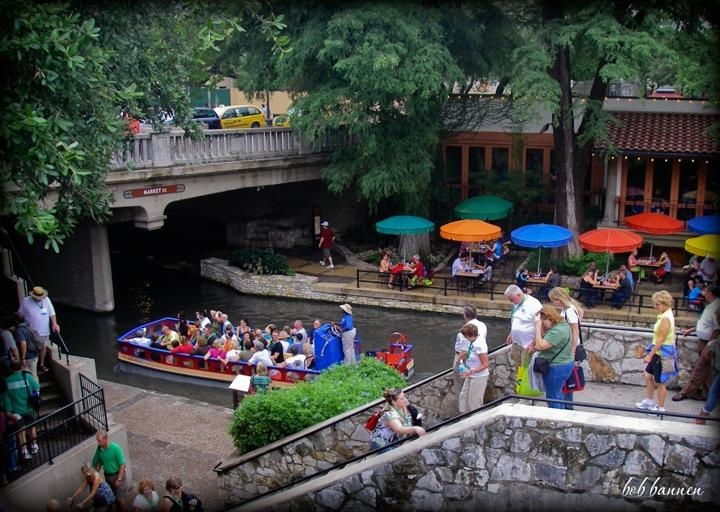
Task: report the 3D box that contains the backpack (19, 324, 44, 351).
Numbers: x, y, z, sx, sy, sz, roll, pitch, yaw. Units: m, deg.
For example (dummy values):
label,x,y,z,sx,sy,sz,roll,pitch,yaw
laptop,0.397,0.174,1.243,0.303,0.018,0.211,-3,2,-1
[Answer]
label,x,y,z,sx,sy,sz,roll,pitch,yaw
backpack,-7.485,1.874,20.545,0.196,0.585,0.429,-27,32,-21

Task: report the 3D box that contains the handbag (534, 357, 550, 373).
label,x,y,z,sx,sy,sz,roll,pitch,yaw
handbag,3.435,2.084,17.160,0.227,0.271,0.270,1,2,2

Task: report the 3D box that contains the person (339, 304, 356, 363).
label,x,y,z,sx,sy,sz,roll,pitch,yaw
person,-0.324,2.101,23.666,0.405,1.629,1.061,-3,11,-1

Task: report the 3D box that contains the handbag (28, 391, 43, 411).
label,x,y,z,sx,sy,sz,roll,pitch,yaw
handbag,-7.039,3.151,19.579,0.178,0.384,0.334,-2,11,4

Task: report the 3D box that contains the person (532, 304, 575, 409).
label,x,y,z,sx,sy,sz,roll,pitch,yaw
person,3.673,1.864,17.269,0.747,1.798,0.312,0,11,14

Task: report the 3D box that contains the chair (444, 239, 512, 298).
label,x,y,z,sx,sy,sz,roll,pitch,yaw
chair,4.140,0.428,31.772,1.373,1.037,2.699,2,12,16

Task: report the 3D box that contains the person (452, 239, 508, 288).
label,x,y,z,sx,sy,sz,roll,pitch,yaw
person,4.188,0.152,31.883,0.876,1.208,3.077,9,25,23

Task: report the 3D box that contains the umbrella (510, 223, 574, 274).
label,x,y,z,sx,sy,sz,roll,pitch,yaw
umbrella,5.796,-0.091,29.101,1.550,1.550,1.676,8,24,21

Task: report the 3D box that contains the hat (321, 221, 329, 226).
label,x,y,z,sx,sy,sz,roll,pitch,yaw
hat,-1.345,-1.196,34.695,0.258,0.155,0.392,2,3,-5

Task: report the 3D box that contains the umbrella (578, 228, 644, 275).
label,x,y,z,sx,sy,sz,roll,pitch,yaw
umbrella,7.757,0.068,28.121,1.457,1.424,1.476,-12,22,-20

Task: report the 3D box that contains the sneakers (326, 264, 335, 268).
label,x,y,z,sx,sy,sz,roll,pitch,yaw
sneakers,-1.147,0.452,34.535,0.300,0.198,0.110,12,37,12

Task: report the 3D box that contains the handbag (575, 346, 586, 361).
label,x,y,z,sx,sy,sz,roll,pitch,yaw
handbag,4.291,1.921,17.710,0.168,0.367,0.247,3,11,35

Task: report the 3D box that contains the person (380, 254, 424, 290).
label,x,y,z,sx,sy,sz,roll,pitch,yaw
person,1.469,0.658,31.538,1.083,0.485,1.144,9,21,33

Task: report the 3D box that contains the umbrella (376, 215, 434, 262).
label,x,y,z,sx,sy,sz,roll,pitch,yaw
umbrella,1.778,-0.635,32.649,1.751,1.946,1.673,-10,15,-41

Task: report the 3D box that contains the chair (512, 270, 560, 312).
label,x,y,z,sx,sy,sz,roll,pitch,yaw
chair,5.692,1.517,29.204,1.037,1.074,2.042,4,17,17

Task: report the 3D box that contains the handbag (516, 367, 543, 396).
label,x,y,z,sx,sy,sz,roll,pitch,yaw
handbag,3.282,2.451,17.465,0.229,0.509,0.444,-21,13,-12

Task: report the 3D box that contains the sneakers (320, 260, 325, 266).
label,x,y,z,sx,sy,sz,roll,pitch,yaw
sneakers,-1.485,0.314,35.185,0.174,0.247,0.547,-1,-1,-10

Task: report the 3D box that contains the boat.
label,x,y,z,sx,sy,sz,roll,pitch,yaw
boat,-3.696,2.639,25.405,7.137,2.041,1.960,5,13,34

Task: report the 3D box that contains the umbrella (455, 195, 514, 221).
label,x,y,z,sx,sy,sz,roll,pitch,yaw
umbrella,4.501,-1.722,33.375,1.584,0.701,1.856,4,13,32

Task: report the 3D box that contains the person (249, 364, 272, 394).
label,x,y,z,sx,sy,sz,roll,pitch,yaw
person,-2.372,2.967,21.274,0.451,0.901,1.119,-4,11,-7

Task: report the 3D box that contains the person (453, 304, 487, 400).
label,x,y,z,sx,sy,sz,roll,pitch,yaw
person,2.228,2.076,19.015,0.693,2.346,0.696,19,52,17

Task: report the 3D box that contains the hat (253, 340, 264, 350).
label,x,y,z,sx,sy,sz,roll,pitch,yaw
hat,-2.738,2.384,24.133,0.187,0.273,0.247,-9,-21,-25

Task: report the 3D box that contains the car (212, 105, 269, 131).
label,x,y,z,sx,sy,sz,roll,pitch,yaw
car,-5.505,-6.363,41.605,2.249,0.937,2.283,-4,11,-6

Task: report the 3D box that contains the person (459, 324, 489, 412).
label,x,y,z,sx,sy,sz,roll,pitch,yaw
person,2.284,2.295,18.323,0.709,2.272,0.773,-2,30,2
